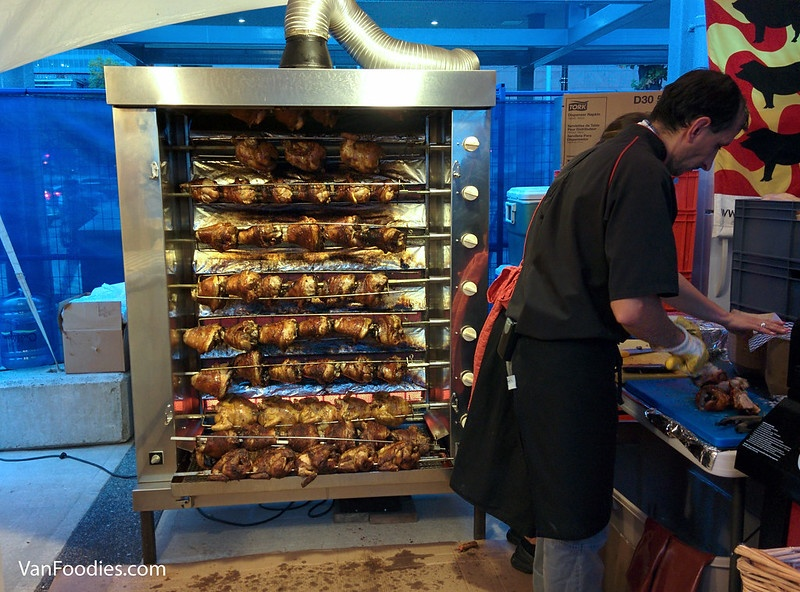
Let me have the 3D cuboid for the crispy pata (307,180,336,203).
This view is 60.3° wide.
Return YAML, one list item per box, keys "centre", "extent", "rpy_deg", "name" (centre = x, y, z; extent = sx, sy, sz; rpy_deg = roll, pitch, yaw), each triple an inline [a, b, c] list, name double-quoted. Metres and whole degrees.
- centre: [-0.460, -0.586, 3.883]
  extent: [0.126, 0.114, 0.053]
  rpy_deg: [2, 8, 4]
  name: "crispy pata"

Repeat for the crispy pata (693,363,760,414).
- centre: [1.441, 0.401, 3.031]
  extent: [0.212, 0.064, 0.213]
  rpy_deg: [0, 32, 15]
  name: "crispy pata"

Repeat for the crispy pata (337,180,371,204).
- centre: [-0.262, -0.580, 3.899]
  extent: [0.154, 0.117, 0.062]
  rpy_deg: [3, 41, 15]
  name: "crispy pata"

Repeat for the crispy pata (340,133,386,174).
- centre: [-0.224, -0.800, 3.939]
  extent: [0.242, 0.182, 0.130]
  rpy_deg: [8, 34, 14]
  name: "crispy pata"

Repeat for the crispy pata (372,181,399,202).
- centre: [-0.083, -0.586, 3.902]
  extent: [0.127, 0.081, 0.096]
  rpy_deg: [10, -14, -37]
  name: "crispy pata"

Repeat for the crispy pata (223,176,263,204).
- centre: [-0.897, -0.576, 3.876]
  extent: [0.199, 0.113, 0.086]
  rpy_deg: [-5, 10, -11]
  name: "crispy pata"

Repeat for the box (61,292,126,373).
- centre: [-2.290, 0.315, 5.389]
  extent: [0.590, 0.529, 0.443]
  rpy_deg: [-2, 1, 13]
  name: "box"

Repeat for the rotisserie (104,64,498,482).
- centre: [-0.532, -0.154, 3.868]
  extent: [2.540, 2.594, 1.029]
  rpy_deg: [0, 11, -2]
  name: "rotisserie"

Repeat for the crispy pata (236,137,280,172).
- centre: [-0.825, -0.806, 3.941]
  extent: [0.212, 0.148, 0.094]
  rpy_deg: [15, -22, -21]
  name: "crispy pata"

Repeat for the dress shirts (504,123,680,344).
- centre: [0.834, -0.260, 2.938]
  extent: [0.657, 0.906, 0.332]
  rpy_deg: [1, 11, 21]
  name: "dress shirts"

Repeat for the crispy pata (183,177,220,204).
- centre: [-1.104, -0.567, 3.820]
  extent: [0.197, 0.110, 0.091]
  rpy_deg: [5, 25, 27]
  name: "crispy pata"

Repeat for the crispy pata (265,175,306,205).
- centre: [-0.662, -0.584, 3.906]
  extent: [0.223, 0.119, 0.056]
  rpy_deg: [-4, 10, -9]
  name: "crispy pata"
